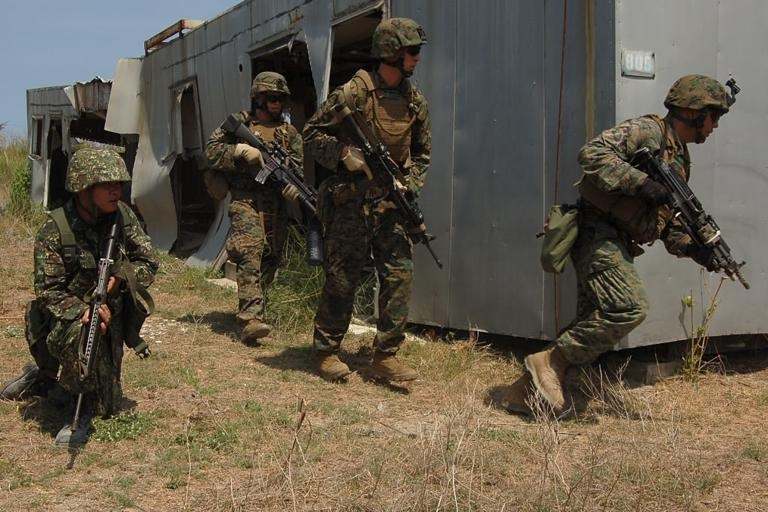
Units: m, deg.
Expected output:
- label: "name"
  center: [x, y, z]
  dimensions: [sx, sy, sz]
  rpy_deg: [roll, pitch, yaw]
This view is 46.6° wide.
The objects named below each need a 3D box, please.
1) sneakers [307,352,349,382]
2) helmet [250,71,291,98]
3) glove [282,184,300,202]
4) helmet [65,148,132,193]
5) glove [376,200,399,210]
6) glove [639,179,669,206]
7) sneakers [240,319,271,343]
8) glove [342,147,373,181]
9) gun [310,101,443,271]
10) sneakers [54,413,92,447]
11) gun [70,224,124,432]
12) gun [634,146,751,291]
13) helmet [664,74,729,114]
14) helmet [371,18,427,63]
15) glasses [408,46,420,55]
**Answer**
- label: "sneakers"
  center: [-0.526, 1.027, 8.218]
  dimensions: [0.163, 0.224, 0.428]
  rpy_deg: [-1, 3, -37]
- label: "helmet"
  center: [-1.222, -1.807, 9.446]
  dimensions: [0.391, 0.273, 0.258]
  rpy_deg: [-1, 14, -11]
- label: "glove"
  center: [-0.964, -0.651, 9.260]
  dimensions: [0.122, 0.204, 0.051]
  rpy_deg: [1, 12, 2]
- label: "helmet"
  center: [-2.365, -0.683, 7.301]
  dimensions: [0.469, 0.459, 0.486]
  rpy_deg: [-1, 0, 20]
- label: "glove"
  center: [0.018, -0.443, 7.946]
  dimensions: [0.085, 0.050, 0.124]
  rpy_deg: [6, -15, 35]
- label: "glove"
  center: [2.215, -0.521, 7.302]
  dimensions: [0.266, 0.210, 0.078]
  rpy_deg: [0, 12, -8]
- label: "sneakers"
  center: [-1.300, 0.767, 9.031]
  dimensions: [0.156, 0.198, 0.377]
  rpy_deg: [10, -28, -35]
- label: "glove"
  center: [-0.242, -0.806, 7.842]
  dimensions: [0.309, 0.190, 0.097]
  rpy_deg: [42, 22, -7]
- label: "gun"
  center: [-0.080, -0.648, 8.091]
  dimensions: [0.441, 1.632, 0.227]
  rpy_deg: [-24, 6, 32]
- label: "sneakers"
  center: [-2.472, 1.425, 7.150]
  dimensions: [0.166, 0.078, 0.265]
  rpy_deg: [6, 39, -2]
- label: "gun"
  center: [-2.323, 0.552, 7.156]
  dimensions: [0.137, 1.594, 0.420]
  rpy_deg: [11, -9, -12]
- label: "gun"
  center: [2.676, -0.339, 7.868]
  dimensions: [0.379, 1.404, 0.221]
  rpy_deg: [-30, 4, -1]
- label: "helmet"
  center: [2.650, -1.308, 7.514]
  dimensions: [0.336, 0.231, 0.356]
  rpy_deg: [4, 5, 25]
- label: "helmet"
  center: [0.138, -1.948, 7.912]
  dimensions: [0.405, 0.415, 0.474]
  rpy_deg: [-9, 19, -34]
- label: "glasses"
  center: [0.252, -1.786, 7.828]
  dimensions: [0.080, 0.064, 0.083]
  rpy_deg: [32, 46, 32]
